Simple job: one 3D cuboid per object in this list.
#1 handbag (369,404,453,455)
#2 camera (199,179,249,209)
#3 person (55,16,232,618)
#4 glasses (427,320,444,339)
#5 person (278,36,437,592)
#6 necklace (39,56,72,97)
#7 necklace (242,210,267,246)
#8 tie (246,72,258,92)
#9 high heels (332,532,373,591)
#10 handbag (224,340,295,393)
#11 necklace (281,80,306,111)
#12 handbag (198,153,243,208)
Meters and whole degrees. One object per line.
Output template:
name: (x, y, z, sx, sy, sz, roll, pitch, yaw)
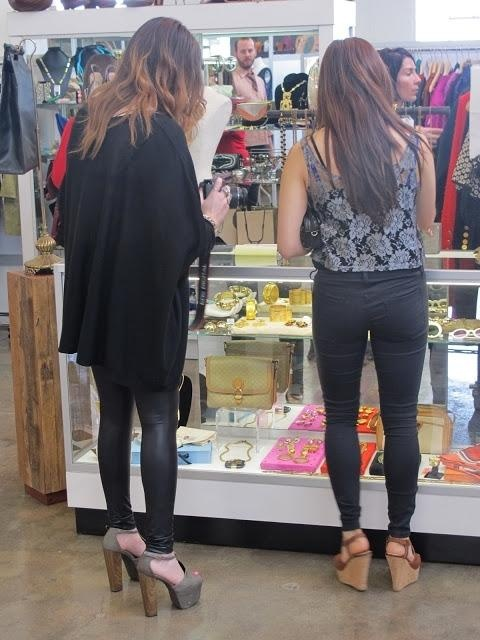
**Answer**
handbag: (0.540, 0.339, 1.748, 0.205, 0.176, 0.079, 1, 9, 15)
camera: (-0.035, -0.400, 1.830, 0.105, 0.075, 0.118, -1, 11, -15)
person: (-0.251, 0.061, 1.422, 0.394, 1.519, 0.298, -2, 11, 5)
glasses: (0.618, 0.034, 1.807, 0.057, 0.072, 0.025, 2, 6, 8)
person: (0.312, 0.049, 1.528, 0.418, 1.490, 0.275, -1, 11, 9)
necklace: (-0.706, -0.941, 2.196, 0.111, 0.159, 0.062, 1, 47, -4)
necklace: (0.052, -0.312, 1.923, 0.099, 0.106, 0.043, 3, 15, 10)
tie: (0.043, -0.805, 1.941, 0.032, 0.058, 0.029, -17, -8, -16)
high heels: (0.310, 0.683, 1.611, 0.062, 0.082, 0.196, -1, -12, -6)
handbag: (0.058, 0.161, 2.036, 0.171, 0.153, 0.048, 2, 8, 13)
necklace: (0.181, -0.745, 1.889, 0.077, 0.081, 0.041, 8, 16, 24)
handbag: (-0.091, -0.455, 1.874, 0.201, 0.209, 0.140, -4, 7, -10)
